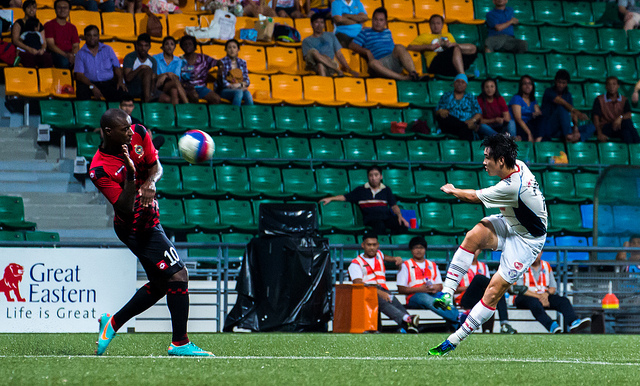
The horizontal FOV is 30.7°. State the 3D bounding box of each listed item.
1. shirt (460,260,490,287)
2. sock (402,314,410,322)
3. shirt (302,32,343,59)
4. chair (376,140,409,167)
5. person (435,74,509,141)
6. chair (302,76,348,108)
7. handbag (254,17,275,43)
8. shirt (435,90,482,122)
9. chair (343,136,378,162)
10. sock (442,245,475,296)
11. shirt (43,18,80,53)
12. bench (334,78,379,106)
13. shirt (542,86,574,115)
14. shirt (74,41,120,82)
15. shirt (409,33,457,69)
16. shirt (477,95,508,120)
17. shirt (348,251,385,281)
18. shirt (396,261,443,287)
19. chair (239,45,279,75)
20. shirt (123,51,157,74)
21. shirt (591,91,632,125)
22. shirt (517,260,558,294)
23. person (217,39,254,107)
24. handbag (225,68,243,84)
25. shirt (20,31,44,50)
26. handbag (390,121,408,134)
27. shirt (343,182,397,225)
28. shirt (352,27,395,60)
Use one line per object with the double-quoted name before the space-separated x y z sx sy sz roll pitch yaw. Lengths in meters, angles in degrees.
"shirt" 3.389 1.814 25.908 0.813 0.741 0.427 2 2 6
"sock" 1.927 2.847 26.414 0.091 0.120 0.123 6 -18 31
"shirt" 0.008 -4.199 33.381 1.209 0.798 0.636 -12 31 -13
"chair" 1.933 -1.129 31.537 0.704 0.947 0.781 3 -12 -8
"person" 3.820 -2.253 31.619 1.353 1.674 0.426 0 0 5
"chair" 0.135 -2.853 32.562 1.176 0.887 1.092 -1 6 -9
"handbag" -1.640 -4.705 33.838 0.661 0.742 0.428 -1 -40 6
"shirt" 3.811 -2.284 31.867 1.380 0.913 0.745 0 -12 7
"chair" 1.112 -1.142 31.145 0.682 0.877 0.745 3 -6 -16
"sock" 2.746 1.532 23.413 0.376 1.317 0.406 26 1 2
"shirt" -7.099 -4.318 32.010 0.960 0.885 0.532 2 6 -30
"bench" 0.875 -2.914 32.979 0.966 0.691 0.901 1 -2 -16
"shirt" 6.452 -2.575 32.116 0.965 0.891 0.622 -12 13 0
"shirt" -6.018 -3.519 31.344 1.314 1.030 0.609 -9 7 -19
"shirt" 3.573 -4.191 33.822 1.293 1.135 0.742 3 -4 30
"shirt" 4.641 -2.383 31.776 0.902 0.621 0.467 -2 27 15
"shirt" 1.034 1.534 26.889 0.967 0.708 0.495 -6 -6 6
"shirt" 2.364 1.798 26.880 1.121 0.745 0.514 -2 29 17
"chair" -1.739 -3.763 33.227 1.063 0.814 1.093 3 5 -16
"shirt" -4.872 -3.311 31.400 0.975 0.685 0.479 0 -9 -6
"shirt" 8.051 -2.330 32.726 1.422 1.117 0.762 0 -4 -1
"shirt" 5.091 1.945 27.278 0.997 0.827 0.537 -9 2 34
"person" -2.323 -3.228 31.624 0.945 1.818 0.517 0 0 -4
"handbag" -2.341 -3.157 31.558 0.456 0.403 0.221 0 0 -5
"shirt" -7.824 -4.128 31.530 0.540 0.486 0.290 -8 4 -38
"handbag" 2.118 -1.818 31.753 0.490 0.316 0.263 5 33 3
"shirt" 1.224 0.252 29.250 1.493 1.035 0.516 -2 2 3
"shirt" 1.720 -4.344 33.928 1.537 1.009 0.608 -4 -23 -27
